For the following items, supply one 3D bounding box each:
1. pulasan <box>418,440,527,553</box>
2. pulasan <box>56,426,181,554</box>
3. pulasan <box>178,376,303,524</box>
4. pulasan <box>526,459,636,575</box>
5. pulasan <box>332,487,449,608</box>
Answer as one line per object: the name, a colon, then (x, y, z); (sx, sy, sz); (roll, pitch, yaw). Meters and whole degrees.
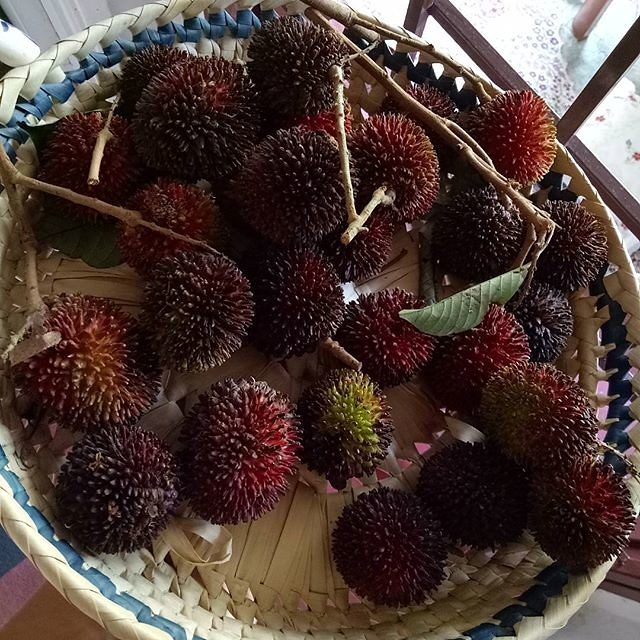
pulasan: (0.165, 0.181, 0.706); (0.135, 0.109, 0.089); (23, 89, 3)
pulasan: (-0.177, 0.147, 0.541); (0.102, 0.061, 0.108); (-7, 75, -5)
pulasan: (-0.100, 0.133, 0.604); (0.147, 0.112, 0.115); (-11, 62, 33)
pulasan: (0.268, 0.195, 0.635); (0.097, 0.066, 0.108); (-12, 75, -6)
pulasan: (0.066, 0.226, 0.667); (0.142, 0.107, 0.106); (3, 99, 4)
